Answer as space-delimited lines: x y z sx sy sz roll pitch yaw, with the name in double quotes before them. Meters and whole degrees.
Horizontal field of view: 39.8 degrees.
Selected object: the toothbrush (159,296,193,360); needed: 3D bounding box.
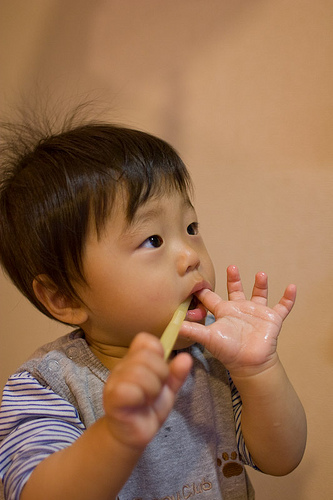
"toothbrush" 0.018 0.105 0.671 0.017 0.018 0.159 -27 12 24
